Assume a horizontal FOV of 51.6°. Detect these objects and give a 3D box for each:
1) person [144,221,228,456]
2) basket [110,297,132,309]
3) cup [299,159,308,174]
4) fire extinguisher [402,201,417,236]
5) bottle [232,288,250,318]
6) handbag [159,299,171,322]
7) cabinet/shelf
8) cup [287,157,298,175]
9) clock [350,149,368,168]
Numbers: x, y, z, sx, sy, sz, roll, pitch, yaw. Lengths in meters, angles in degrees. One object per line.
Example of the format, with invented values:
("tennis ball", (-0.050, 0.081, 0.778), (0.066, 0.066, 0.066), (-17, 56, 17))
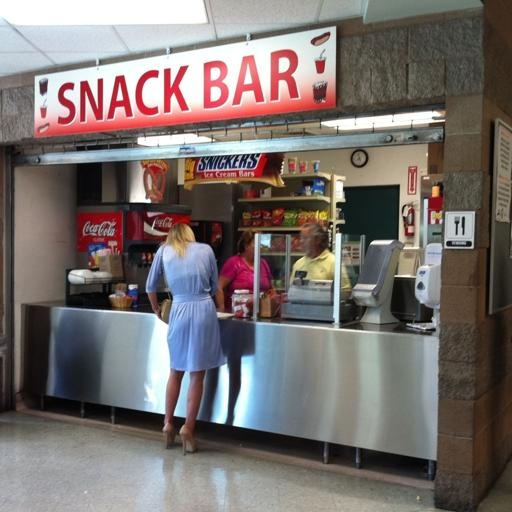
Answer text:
("person", (-0.514, 0.597, 3.968), (0.549, 1.695, 0.382), (0, -1, 45))
("basket", (-1.191, 0.400, 4.636), (0.135, 0.068, 0.109), (0, -2, 39))
("cup", (0.593, -1.118, 6.720), (0.094, 0.207, 0.356), (1, -1, 5))
("fire extinguisher", (2.478, -0.578, 8.635), (0.117, 0.559, 0.271), (1, -1, -33))
("bottle", (-0.111, 0.370, 4.086), (0.138, 0.206, 0.094), (1, 0, 1))
("handbag", (-0.695, 0.424, 4.046), (0.071, 0.170, 0.175), (7, -2, -13))
("cabinet/shelf", (0.434, -0.677, 7.019), (1.400, 0.755, 0.672), (0, -1, 29))
("cup", (0.470, -1.140, 6.846), (0.109, 0.242, 0.387), (1, -1, 4))
("clock", (1.784, -1.665, 9.219), (0.281, 0.303, 0.279), (1, -11, -9))
